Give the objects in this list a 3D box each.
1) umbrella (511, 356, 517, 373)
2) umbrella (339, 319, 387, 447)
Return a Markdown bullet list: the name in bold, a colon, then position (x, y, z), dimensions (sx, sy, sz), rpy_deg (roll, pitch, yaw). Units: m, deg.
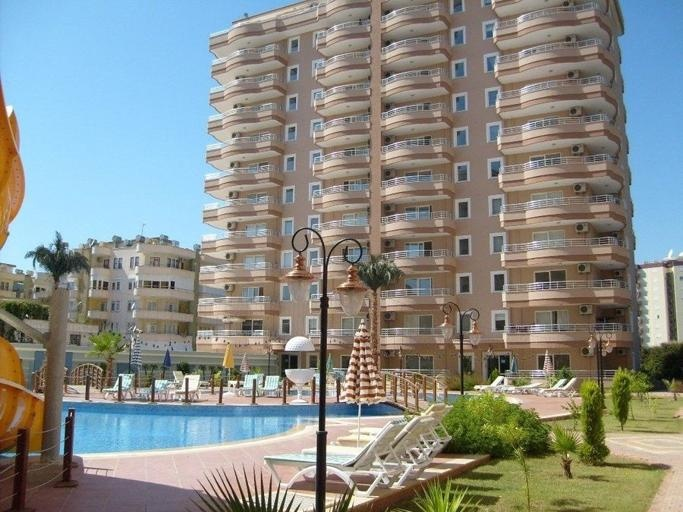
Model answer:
- **umbrella**: position (12.737, 8.040, 43.830), dimensions (0.467, 1.098, 1.287), rpy_deg (-4, -13, 14)
- **umbrella**: position (0.706, 3.048, 14.429), dimensions (1.245, 2.900, 1.244), rpy_deg (4, -10, -26)
